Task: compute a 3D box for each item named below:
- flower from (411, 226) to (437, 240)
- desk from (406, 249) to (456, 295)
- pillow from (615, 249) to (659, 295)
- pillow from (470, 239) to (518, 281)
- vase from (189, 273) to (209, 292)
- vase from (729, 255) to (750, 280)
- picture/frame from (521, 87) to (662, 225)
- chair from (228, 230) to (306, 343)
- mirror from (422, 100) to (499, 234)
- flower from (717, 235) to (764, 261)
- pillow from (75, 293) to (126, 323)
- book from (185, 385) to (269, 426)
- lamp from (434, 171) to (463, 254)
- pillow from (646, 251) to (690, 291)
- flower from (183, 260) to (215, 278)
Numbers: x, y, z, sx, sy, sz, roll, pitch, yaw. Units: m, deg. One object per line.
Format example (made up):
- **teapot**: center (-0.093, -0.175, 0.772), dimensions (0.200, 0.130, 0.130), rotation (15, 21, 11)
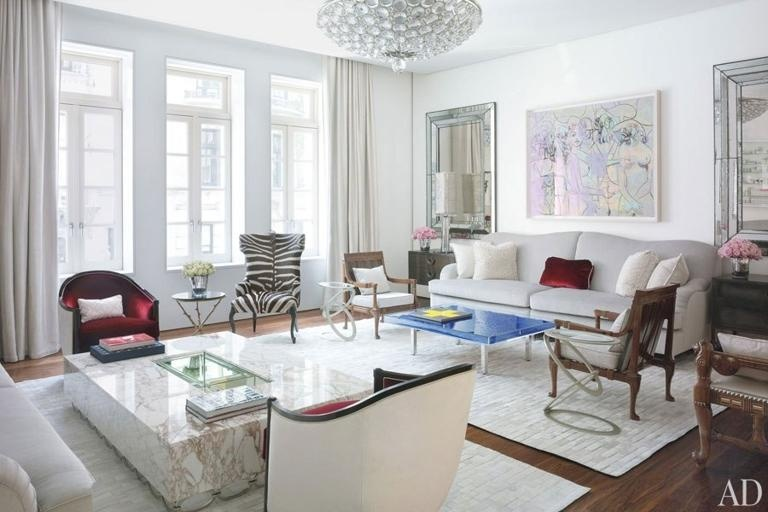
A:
- **flower**: center (0.637, -0.331, 8.017), dimensions (0.256, 0.161, 0.255), rotation (-1, -2, 30)
- **desk**: center (0.718, 0.169, 8.144), dimensions (0.538, 0.874, 0.965), rotation (-1, 1, -29)
- **pillow**: center (2.974, 0.110, 5.931), dimensions (0.322, 0.559, 0.603), rotation (24, 23, 18)
- **pillow**: center (1.475, 0.080, 6.887), dimensions (0.551, 0.485, 0.200), rotation (1, -24, 7)
- **vase**: center (-2.162, 0.305, 6.013), dimensions (0.224, 0.181, 0.225), rotation (0, 2, -8)
- **vase**: center (3.819, 0.127, 5.625), dimensions (0.233, 0.245, 0.224), rotation (-1, 2, -17)
- **picture/frame**: center (2.755, -1.296, 6.676), dimensions (2.063, 1.648, 0.072), rotation (-1, 2, 43)
- **chair**: center (-1.468, 0.352, 6.521), dimensions (0.979, 1.256, 0.946), rotation (-2, 6, -16)
- **mirror**: center (1.210, -1.278, 8.102), dimensions (0.088, 1.977, 1.494), rotation (-11, 14, -37)
- **flower**: center (3.804, -0.077, 5.549), dimensions (0.340, 0.311, 0.326), rotation (-12, 11, -22)
- **pillow**: center (-2.891, 0.542, 5.303), dimensions (0.422, 0.229, 0.292), rotation (-9, 15, -35)
- **book**: center (-1.117, 1.014, 3.651), dimensions (0.531, 0.090, 0.442), rotation (-7, 13, -27)
- **lamp**: center (0.956, -0.667, 8.023), dimensions (0.422, 1.183, 0.444), rotation (-1, 6, 0)
- **pillow**: center (3.033, 0.170, 5.504), dimensions (0.217, 0.364, 0.381), rotation (21, 5, 8)
- **flower**: center (-2.161, 0.152, 5.954), dimensions (0.254, 0.141, 0.230), rotation (1, 1, 33)
